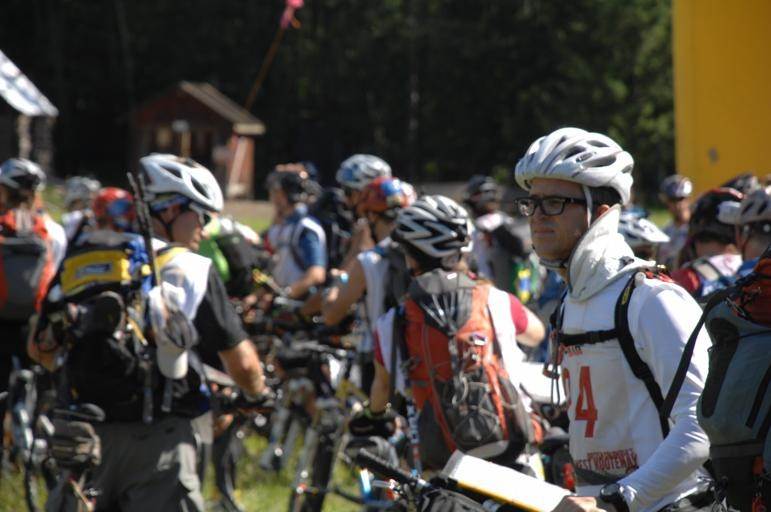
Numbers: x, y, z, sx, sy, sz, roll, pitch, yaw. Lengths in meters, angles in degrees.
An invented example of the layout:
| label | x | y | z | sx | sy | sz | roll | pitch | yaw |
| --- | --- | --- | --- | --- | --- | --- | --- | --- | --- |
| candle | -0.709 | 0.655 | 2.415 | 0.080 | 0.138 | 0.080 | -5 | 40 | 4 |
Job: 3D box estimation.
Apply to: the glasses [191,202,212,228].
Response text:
| label | x | y | z | sx | sy | sz | roll | pitch | yaw |
| --- | --- | --- | --- | --- | --- | --- | --- | --- | --- |
| glasses | -1.747 | -0.381 | 15.580 | 0.220 | 0.208 | 0.174 | 2 | 2 | 5 |
